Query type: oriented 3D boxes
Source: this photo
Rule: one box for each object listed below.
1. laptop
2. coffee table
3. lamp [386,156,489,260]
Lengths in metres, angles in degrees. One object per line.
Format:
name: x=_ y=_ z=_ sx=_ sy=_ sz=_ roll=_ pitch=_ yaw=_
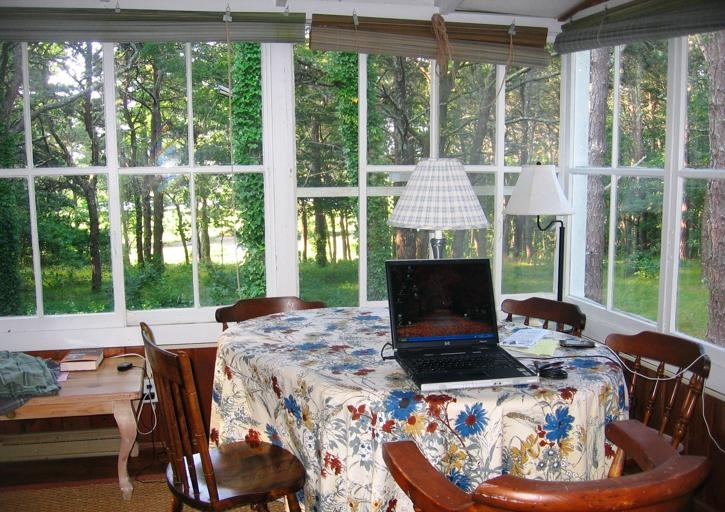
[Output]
laptop: x=0.386 y=0.271 z=2.498 sx=0.516 sy=0.370 sz=0.527 roll=-2 pitch=11 yaw=-14
coffee table: x=-1.552 y=0.852 z=3.432 sx=0.774 sy=0.552 sz=0.726 roll=0 pitch=2 yaw=-2
lamp: x=0.354 y=-0.221 z=3.201 sx=0.540 sy=0.780 sz=0.495 roll=0 pitch=2 yaw=11
